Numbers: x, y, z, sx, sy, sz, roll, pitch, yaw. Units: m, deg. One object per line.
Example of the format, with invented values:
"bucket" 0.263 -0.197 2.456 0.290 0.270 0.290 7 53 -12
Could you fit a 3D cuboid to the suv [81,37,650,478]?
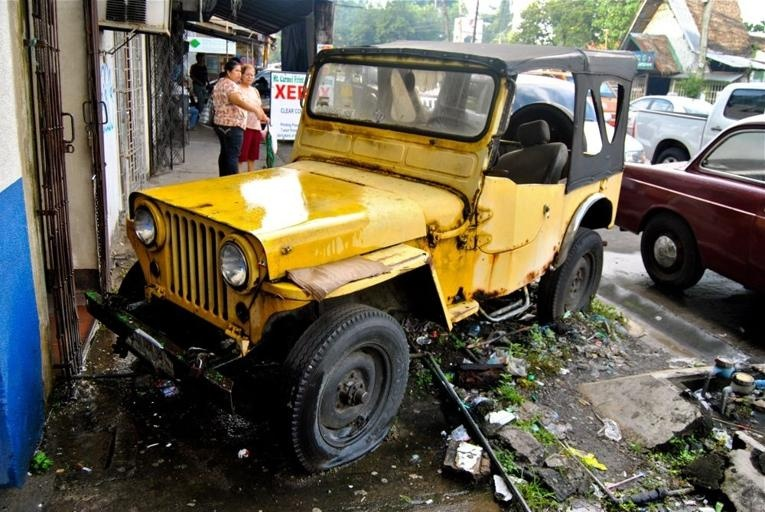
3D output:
"suv" -0.622 -0.376 5.050 5.434 3.098 2.988 -17 27 -37
